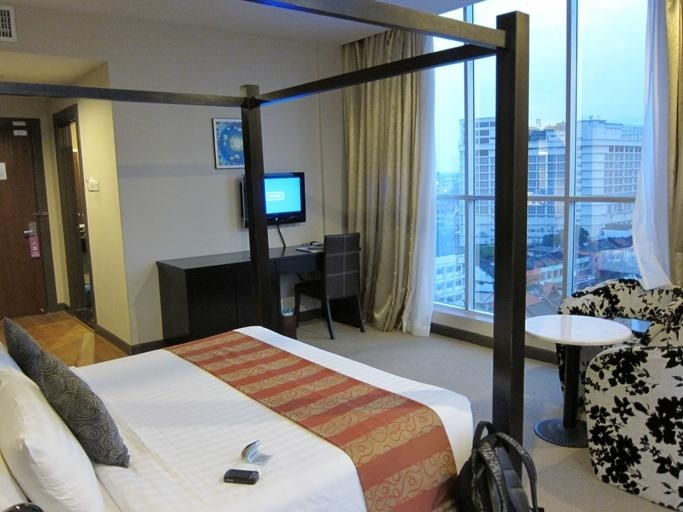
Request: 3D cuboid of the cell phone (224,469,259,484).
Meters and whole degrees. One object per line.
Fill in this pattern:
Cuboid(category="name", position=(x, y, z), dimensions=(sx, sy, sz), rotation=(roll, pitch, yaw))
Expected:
Cuboid(category="cell phone", position=(-0.426, 0.922, 2.267), dimensions=(0.102, 0.026, 0.062), rotation=(0, 15, 2))
